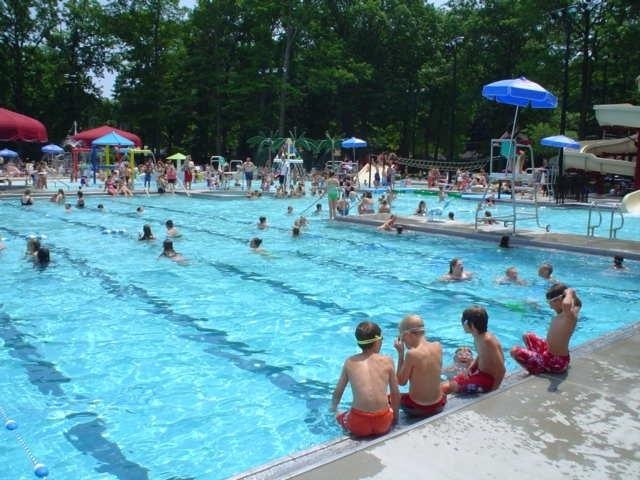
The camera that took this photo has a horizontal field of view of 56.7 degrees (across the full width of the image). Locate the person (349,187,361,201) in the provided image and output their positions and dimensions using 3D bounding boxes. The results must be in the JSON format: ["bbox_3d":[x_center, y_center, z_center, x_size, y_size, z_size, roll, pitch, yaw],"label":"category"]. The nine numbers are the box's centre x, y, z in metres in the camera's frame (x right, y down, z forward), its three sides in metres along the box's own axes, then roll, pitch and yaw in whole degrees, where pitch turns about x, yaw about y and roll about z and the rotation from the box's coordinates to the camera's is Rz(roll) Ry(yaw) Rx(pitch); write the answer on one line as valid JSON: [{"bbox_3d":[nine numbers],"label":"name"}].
[{"bbox_3d":[1.477,-1.971,25.550,0.882,0.500,1.253,4,4,5],"label":"person"}]

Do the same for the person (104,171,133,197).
[{"bbox_3d":[-10.076,-2.763,29.336,1.053,1.038,1.708,0,4,-38],"label":"person"}]

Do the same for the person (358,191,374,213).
[{"bbox_3d":[1.750,-1.380,22.262,0.563,0.798,1.044,3,5,8],"label":"person"}]

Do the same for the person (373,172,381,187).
[{"bbox_3d":[3.534,-3.678,36.513,0.331,0.923,0.958,2,5,5],"label":"person"}]

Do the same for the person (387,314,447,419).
[{"bbox_3d":[1.117,1.425,6.843,0.768,1.078,0.659,-9,14,-34],"label":"person"}]

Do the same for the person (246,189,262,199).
[{"bbox_3d":[-3.263,-2.192,28.950,0.709,0.373,0.754,0,5,-26],"label":"person"}]

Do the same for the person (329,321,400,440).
[{"bbox_3d":[0.290,1.578,6.718,0.923,1.315,1.073,1,-5,-3],"label":"person"}]

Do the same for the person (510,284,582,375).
[{"bbox_3d":[2.826,1.089,7.351,0.810,1.084,0.539,3,5,9],"label":"person"}]

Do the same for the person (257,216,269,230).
[{"bbox_3d":[-1.836,-0.527,18.978,0.257,0.347,0.718,0,3,-5],"label":"person"}]

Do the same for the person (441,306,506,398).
[{"bbox_3d":[1.815,1.303,6.937,0.669,1.053,0.357,3,6,13],"label":"person"}]

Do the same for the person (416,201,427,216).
[{"bbox_3d":[3.666,-1.156,21.596,0.366,0.510,1.333,3,5,12],"label":"person"}]

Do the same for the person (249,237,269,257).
[{"bbox_3d":[-1.568,0.189,15.212,0.277,0.462,0.878,-23,0,-4],"label":"person"}]

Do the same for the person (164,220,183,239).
[{"bbox_3d":[-4.133,-0.303,16.810,0.442,0.497,0.969,1,5,-13],"label":"person"}]
